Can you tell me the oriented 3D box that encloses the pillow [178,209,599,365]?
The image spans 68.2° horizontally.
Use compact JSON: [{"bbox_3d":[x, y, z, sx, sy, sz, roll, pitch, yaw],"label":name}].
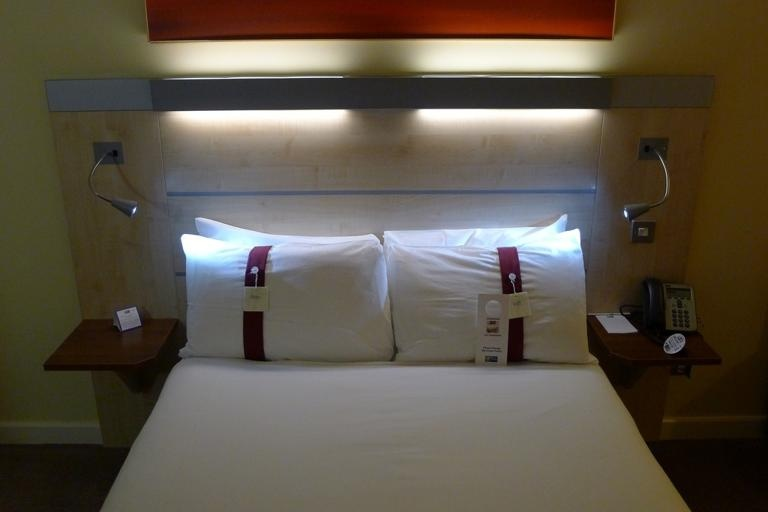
[{"bbox_3d":[0.000,0.194,2.984,2.160,0.665,0.292,1,8,2],"label":"pillow"}]
